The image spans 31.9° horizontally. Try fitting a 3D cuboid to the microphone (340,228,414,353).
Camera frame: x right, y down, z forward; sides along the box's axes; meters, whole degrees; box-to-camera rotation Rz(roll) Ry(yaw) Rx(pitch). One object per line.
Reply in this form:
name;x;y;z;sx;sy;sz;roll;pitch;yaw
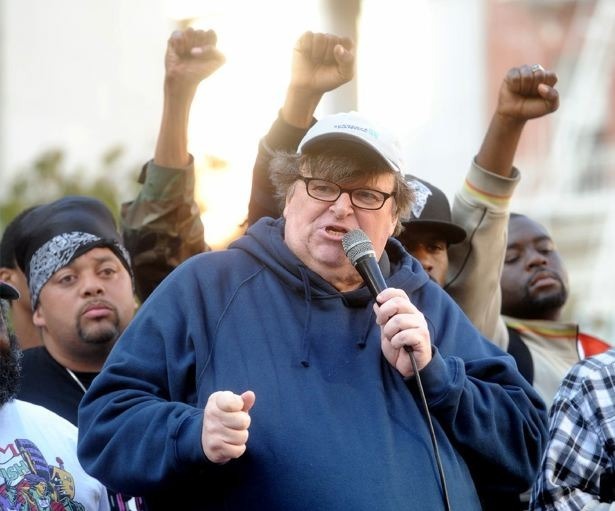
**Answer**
microphone;0.260;0.088;4.828;0.176;0.177;0.724;21;32;-34
